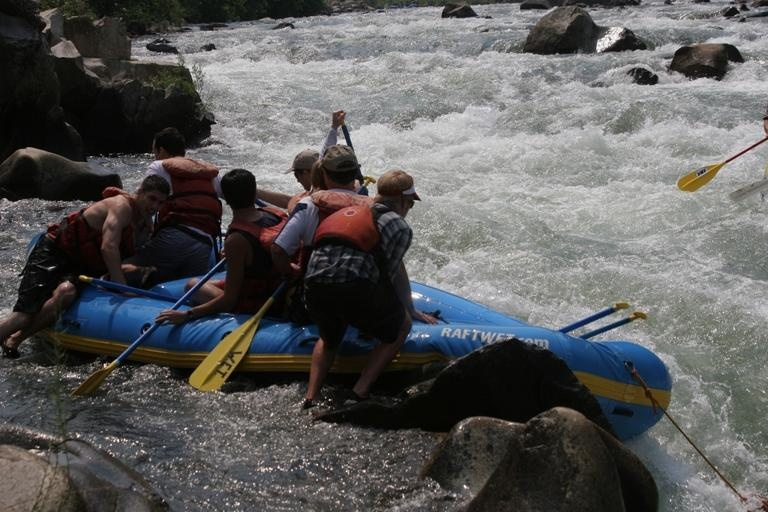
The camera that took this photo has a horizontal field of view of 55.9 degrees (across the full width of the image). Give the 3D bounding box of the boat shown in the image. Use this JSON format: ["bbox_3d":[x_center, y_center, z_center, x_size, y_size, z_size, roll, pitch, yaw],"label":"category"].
[{"bbox_3d":[-0.318,0.896,7.499,5.160,0.852,2.460,5,2,12],"label":"boat"}]

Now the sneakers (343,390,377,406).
[{"bbox_3d":[-0.240,1.351,6.838,0.274,0.094,0.199,12,25,2],"label":"sneakers"}]

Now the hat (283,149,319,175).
[{"bbox_3d":[-0.933,-1.082,8.195,0.355,0.178,0.237,-4,15,4],"label":"hat"}]

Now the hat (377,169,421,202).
[{"bbox_3d":[0.159,-0.694,7.087,0.391,0.196,0.270,1,20,-28],"label":"hat"}]

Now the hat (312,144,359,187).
[{"bbox_3d":[-0.441,-0.890,7.245,0.336,0.256,0.445,-6,33,-8],"label":"hat"}]

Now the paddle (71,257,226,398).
[{"bbox_3d":[-2.490,0.795,7.555,0.233,0.153,2.097,47,61,3],"label":"paddle"}]

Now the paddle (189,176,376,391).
[{"bbox_3d":[-0.996,0.343,7.221,0.695,0.277,2.817,26,51,19],"label":"paddle"}]
